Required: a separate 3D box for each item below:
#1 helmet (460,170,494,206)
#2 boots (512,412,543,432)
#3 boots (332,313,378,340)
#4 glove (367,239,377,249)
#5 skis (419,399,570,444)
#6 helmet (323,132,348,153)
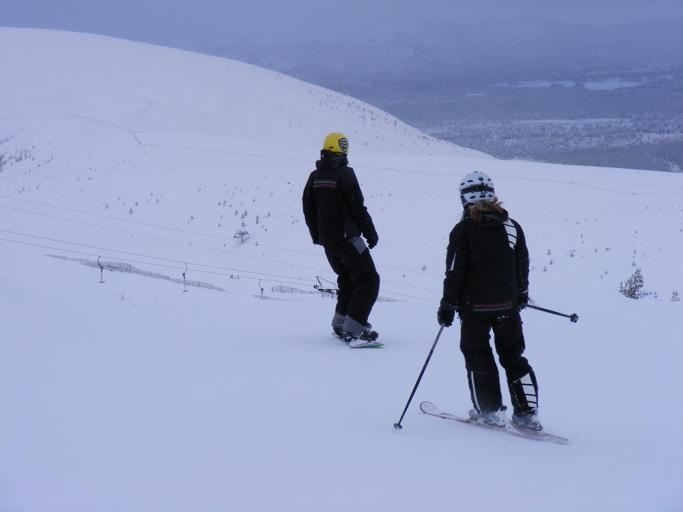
[{"bbox_3d":[2.140,-1.043,15.156,0.412,0.585,0.559,0,4,2],"label":"helmet"},{"bbox_3d":[2.855,2.582,14.722,0.356,0.150,0.256,0,4,31],"label":"boots"},{"bbox_3d":[0.185,1.307,17.555,1.036,0.536,0.367,-1,1,36],"label":"boots"},{"bbox_3d":[0.572,-0.212,17.299,0.159,0.162,0.149,-17,26,-28],"label":"glove"},{"bbox_3d":[2.332,2.616,14.713,1.459,0.277,0.153,16,27,13],"label":"skis"},{"bbox_3d":[-0.115,-2.076,17.397,0.400,0.363,0.326,-8,21,0],"label":"helmet"}]
